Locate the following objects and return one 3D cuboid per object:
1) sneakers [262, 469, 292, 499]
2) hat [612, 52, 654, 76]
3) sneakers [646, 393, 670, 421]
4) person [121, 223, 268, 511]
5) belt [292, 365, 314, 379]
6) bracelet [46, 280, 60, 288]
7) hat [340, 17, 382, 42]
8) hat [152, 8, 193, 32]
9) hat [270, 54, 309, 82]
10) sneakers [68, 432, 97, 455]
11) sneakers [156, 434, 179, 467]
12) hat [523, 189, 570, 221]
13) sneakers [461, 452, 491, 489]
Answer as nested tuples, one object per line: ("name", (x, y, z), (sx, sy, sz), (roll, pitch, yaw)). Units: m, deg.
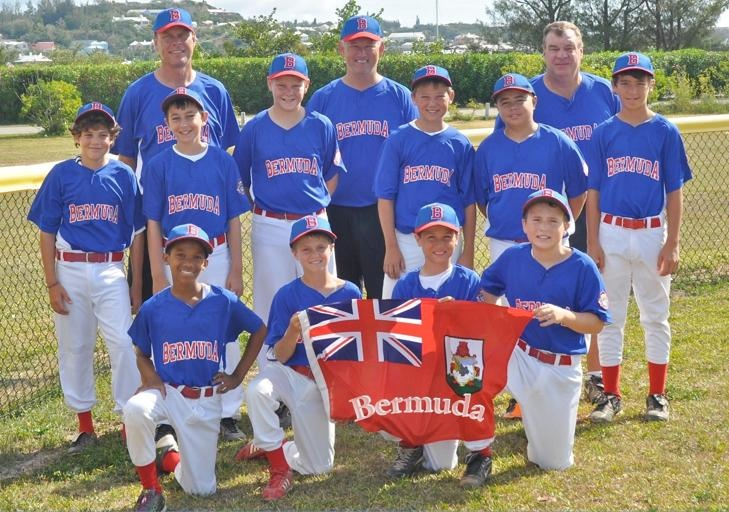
("sneakers", (-0.691, 1.817, 7.093), (0.189, 0.181, 0.341), (1, 8, 12))
("hat", (2.400, -1.739, 7.941), (0.238, 0.174, 0.329), (2, -6, 17))
("sneakers", (2.580, 1.331, 7.795), (0.196, 0.185, 0.272), (2, 8, 18))
("person", (-1.388, 0.860, 7.120), (1.096, 2.176, 0.754), (-3, 8, -12))
("belt", (-0.511, 0.956, 7.314), (0.116, 0.046, 0.118), (33, -8, 5))
("bracelet", (-2.743, 0.251, 7.719), (0.118, 0.060, 0.059), (1, 8, 13))
("hat", (-0.042, -2.199, 8.514), (0.402, 0.256, 0.299), (-1, 8, -2))
("hat", (-1.806, -2.184, 8.182), (0.229, 0.184, 0.315), (-7, 14, -17))
("hat", (-0.721, -1.752, 8.168), (0.354, 0.260, 0.424), (-2, 8, -6))
("sneakers", (-2.484, 1.643, 7.723), (0.123, 0.105, 0.243), (-2, 0, 14))
("sneakers", (-1.649, 1.647, 7.397), (0.250, 0.082, 0.170), (43, 3, 29))
("hat", (1.531, -0.415, 7.365), (0.351, 0.263, 0.567), (1, -11, 15))
("sneakers", (0.890, 1.702, 7.097), (0.230, 0.243, 0.262), (1, 8, 11))
